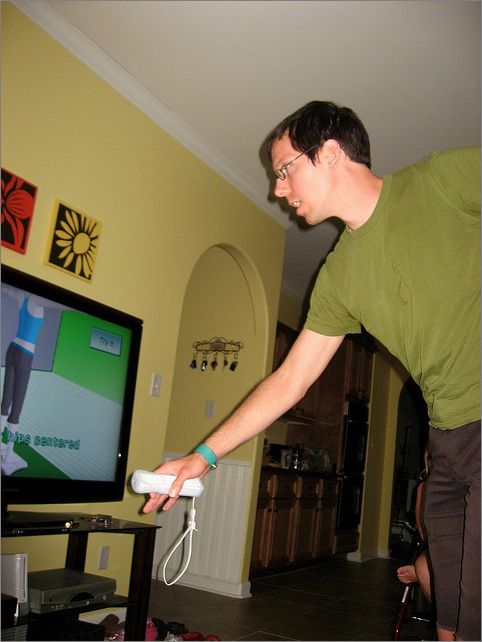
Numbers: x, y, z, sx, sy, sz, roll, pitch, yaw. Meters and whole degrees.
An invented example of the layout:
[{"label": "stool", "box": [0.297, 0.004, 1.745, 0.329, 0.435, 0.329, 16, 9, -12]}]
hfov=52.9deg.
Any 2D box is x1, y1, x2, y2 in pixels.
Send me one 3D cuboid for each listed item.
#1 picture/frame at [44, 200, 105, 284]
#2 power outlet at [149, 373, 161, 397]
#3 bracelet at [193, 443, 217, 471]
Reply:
[{"label": "picture/frame", "box": [-0.790, -0.379, 2.366, 0.026, 0.363, 0.386, 16, 13, 18]}, {"label": "power outlet", "box": [-0.505, 0.374, 2.827, 0.015, 0.138, 0.133, -1, -11, 22]}, {"label": "bracelet", "box": [-0.075, 0.271, 1.001, 0.052, 0.021, 0.052, 40, -15, 50]}]
